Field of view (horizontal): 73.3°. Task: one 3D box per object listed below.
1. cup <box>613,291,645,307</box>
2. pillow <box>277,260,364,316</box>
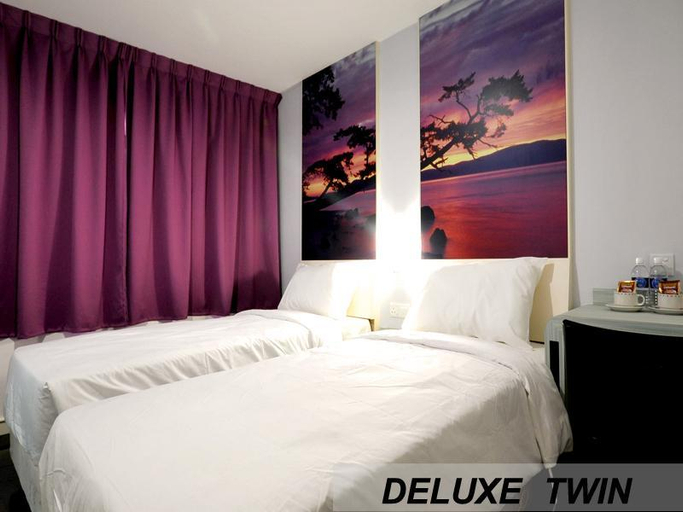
[{"bbox_3d":[1.423,0.205,2.278,0.073,0.068,0.129,1,0,-14],"label":"cup"},{"bbox_3d":[-0.187,0.259,3.521,0.581,0.404,0.278,0,1,30],"label":"pillow"}]
